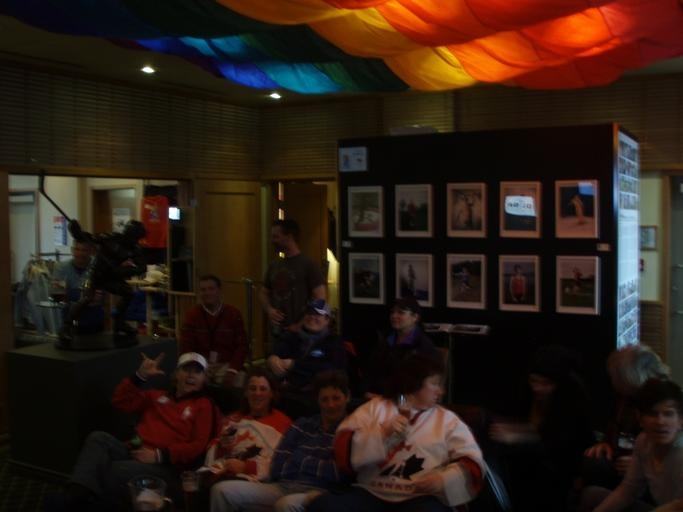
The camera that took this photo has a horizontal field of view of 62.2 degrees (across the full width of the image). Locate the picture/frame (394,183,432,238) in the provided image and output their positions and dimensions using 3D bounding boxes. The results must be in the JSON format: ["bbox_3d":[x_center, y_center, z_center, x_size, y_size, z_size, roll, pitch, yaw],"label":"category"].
[{"bbox_3d":[0.733,-0.469,5.717,0.521,0.735,0.075,0,-1,27],"label":"picture/frame"}]

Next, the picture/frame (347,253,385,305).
[{"bbox_3d":[0.269,0.234,5.911,0.499,0.698,0.097,2,3,33],"label":"picture/frame"}]

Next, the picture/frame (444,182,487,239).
[{"bbox_3d":[1.221,-0.452,5.504,0.516,0.749,0.100,1,1,28],"label":"picture/frame"}]

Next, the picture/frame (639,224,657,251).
[{"bbox_3d":[3.884,-0.231,7.173,0.312,0.359,0.036,1,-1,23],"label":"picture/frame"}]

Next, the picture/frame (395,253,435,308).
[{"bbox_3d":[0.743,0.233,5.611,0.509,0.722,0.071,0,0,29],"label":"picture/frame"}]

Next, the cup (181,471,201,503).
[{"bbox_3d":[-0.965,1.458,3.624,0.110,0.201,0.153,2,0,-14],"label":"cup"}]

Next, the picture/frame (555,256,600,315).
[{"bbox_3d":[2.141,0.251,5.149,0.358,0.526,0.051,1,10,24],"label":"picture/frame"}]

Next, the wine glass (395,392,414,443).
[{"bbox_3d":[0.376,0.957,3.362,0.109,0.255,0.172,2,0,10],"label":"wine glass"}]

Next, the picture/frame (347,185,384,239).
[{"bbox_3d":[0.261,-0.463,5.924,0.508,0.717,0.093,-2,-3,30],"label":"picture/frame"}]
